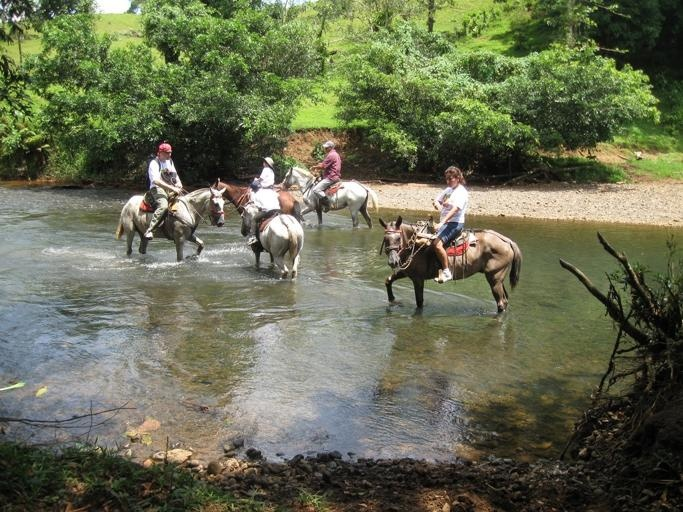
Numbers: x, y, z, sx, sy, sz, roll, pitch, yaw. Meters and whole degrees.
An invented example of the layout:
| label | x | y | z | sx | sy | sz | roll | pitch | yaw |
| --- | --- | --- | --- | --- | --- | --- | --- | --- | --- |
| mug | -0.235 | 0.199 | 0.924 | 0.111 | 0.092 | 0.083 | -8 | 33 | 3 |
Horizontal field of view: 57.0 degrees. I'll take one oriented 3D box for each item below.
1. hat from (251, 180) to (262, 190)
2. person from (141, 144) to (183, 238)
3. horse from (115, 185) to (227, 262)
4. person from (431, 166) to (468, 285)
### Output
| label | x | y | z | sx | sy | sz | roll | pitch | yaw |
| --- | --- | --- | --- | --- | --- | --- | --- | --- | --- |
| hat | -2.531 | -2.130 | 18.820 | 0.249 | 0.293 | 0.268 | 5 | -37 | -9 |
| person | -5.218 | -1.868 | 18.407 | 0.953 | 2.795 | 1.077 | 3 | 9 | 9 |
| horse | -5.233 | -0.932 | 19.082 | 3.920 | 2.252 | 1.067 | 4 | 5 | 21 |
| person | 2.449 | -0.681 | 14.274 | 0.731 | 2.685 | 0.771 | 3 | 9 | 8 |
